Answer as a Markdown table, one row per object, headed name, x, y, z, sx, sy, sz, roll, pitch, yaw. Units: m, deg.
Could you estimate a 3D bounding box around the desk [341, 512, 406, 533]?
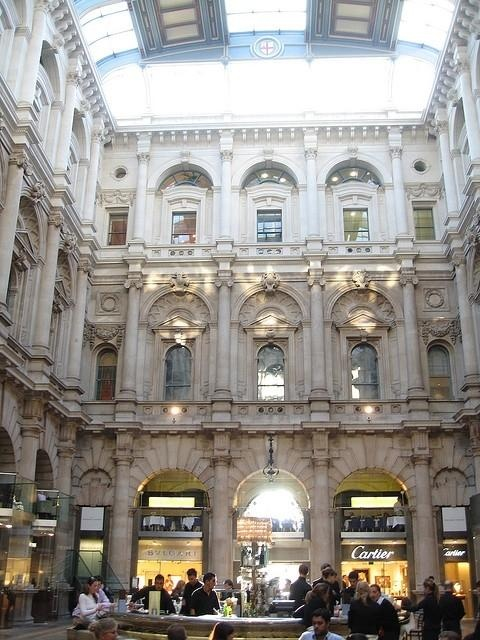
| name | x | y | z | sx | sy | sz | roll | pitch | yaw |
| --- | --- | --- | --- | --- | --- | --- | --- | --- | --- |
| desk | 4.605 | 7.034 | 19.480 | 2.203 | 0.662 | 0.229 | 1 | -25 | -2 |
